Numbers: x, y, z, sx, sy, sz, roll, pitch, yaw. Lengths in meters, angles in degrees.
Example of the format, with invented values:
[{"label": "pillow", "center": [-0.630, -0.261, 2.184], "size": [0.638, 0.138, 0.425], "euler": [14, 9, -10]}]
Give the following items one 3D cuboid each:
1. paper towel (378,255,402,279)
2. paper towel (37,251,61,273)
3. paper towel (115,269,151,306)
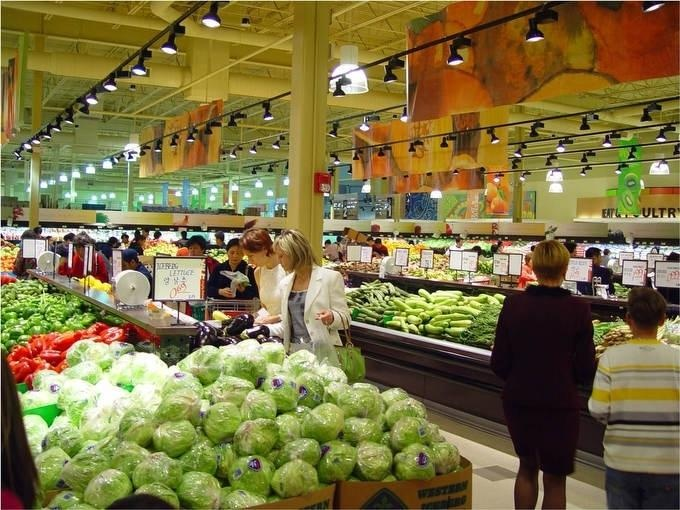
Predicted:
[{"label": "paper towel", "center": [0.952, 0.252, 9.182], "size": [0.441, 0.376, 0.155], "euler": [3, -5, -39]}, {"label": "paper towel", "center": [-4.042, 0.107, 6.664], "size": [0.285, 0.283, 0.190], "euler": [14, -5, -32]}, {"label": "paper towel", "center": [-1.646, 0.272, 3.780], "size": [0.264, 0.251, 0.295], "euler": [-3, -5, -25]}]
